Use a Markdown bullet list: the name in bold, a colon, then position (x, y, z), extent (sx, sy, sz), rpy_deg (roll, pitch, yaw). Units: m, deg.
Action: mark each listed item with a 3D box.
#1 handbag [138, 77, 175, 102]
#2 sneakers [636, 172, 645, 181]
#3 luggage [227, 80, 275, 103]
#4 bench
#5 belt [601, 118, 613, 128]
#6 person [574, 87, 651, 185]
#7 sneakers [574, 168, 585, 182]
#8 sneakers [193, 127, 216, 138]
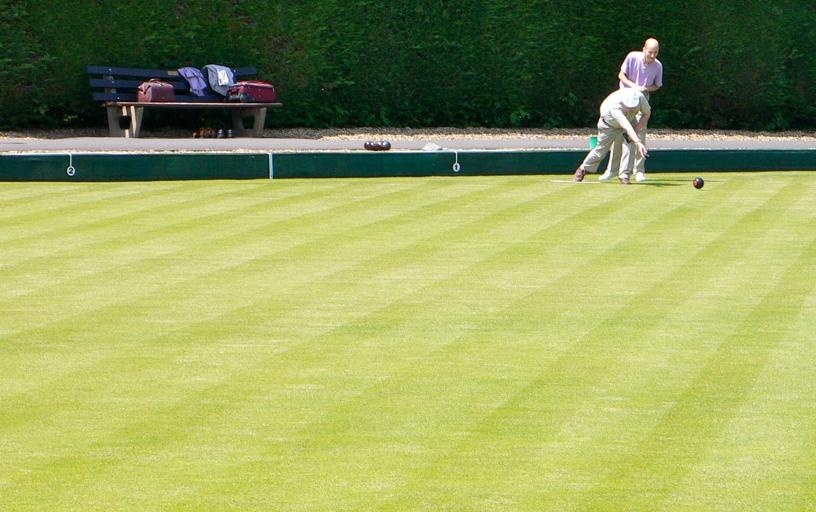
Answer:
- **handbag**: position (-3.849, -2.545, 22.884), extent (0.468, 0.254, 0.470), rpy_deg (13, 17, 42)
- **sneakers**: position (2.900, -0.983, 18.870), extent (0.103, 0.096, 0.134), rpy_deg (0, -3, 0)
- **luggage**: position (-2.398, -2.580, 23.590), extent (0.630, 0.198, 0.392), rpy_deg (-3, 6, -35)
- **bench**: position (-3.506, -2.394, 23.659), extent (2.830, 1.296, 1.938), rpy_deg (-2, 20, -10)
- **belt**: position (2.420, -1.623, 18.318), extent (0.143, 0.035, 0.120), rpy_deg (11, -13, -3)
- **person**: position (2.502, -1.444, 18.371), extent (0.783, 1.219, 1.194), rpy_deg (5, 21, 5)
- **sneakers**: position (2.126, -0.992, 18.654), extent (0.094, 0.083, 0.223), rpy_deg (1, -11, -1)
- **sneakers**: position (-3.245, -1.987, 24.267), extent (0.333, 0.106, 0.383), rpy_deg (0, 2, -4)
